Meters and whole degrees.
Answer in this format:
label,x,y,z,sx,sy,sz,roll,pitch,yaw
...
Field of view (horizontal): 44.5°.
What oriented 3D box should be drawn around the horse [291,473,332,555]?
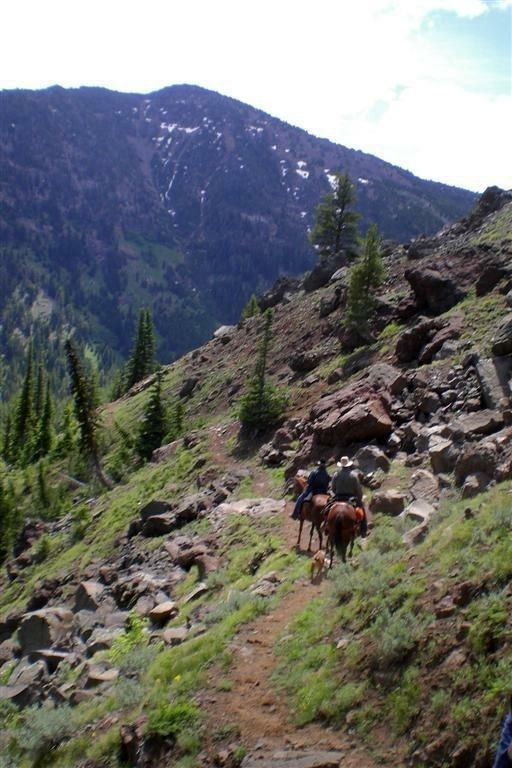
label,x,y,z,sx,sy,sz,roll,pitch,yaw
horse,1.821,3.978,18.967,0.712,2.022,2.573,-7,2,-15
